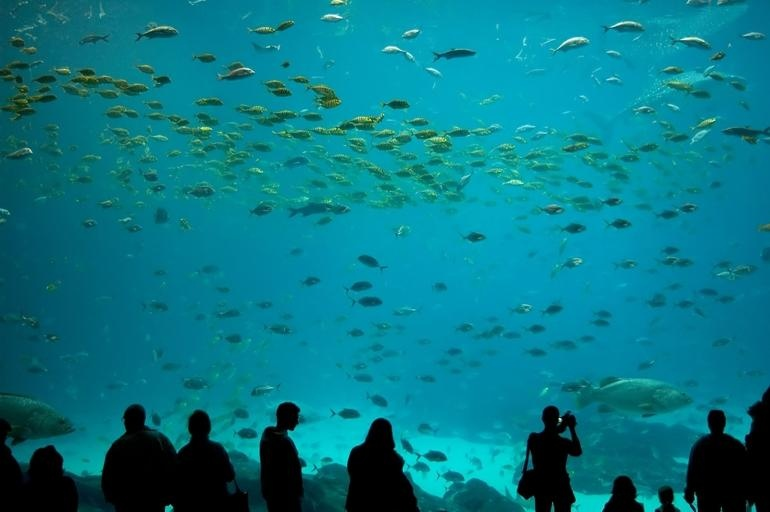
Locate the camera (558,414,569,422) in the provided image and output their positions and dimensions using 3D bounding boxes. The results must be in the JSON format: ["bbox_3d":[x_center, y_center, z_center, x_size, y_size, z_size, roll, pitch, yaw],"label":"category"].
[{"bbox_3d":[14.287,12.889,60.588,0.889,0.499,0.199,-14,-4,0],"label":"camera"}]
